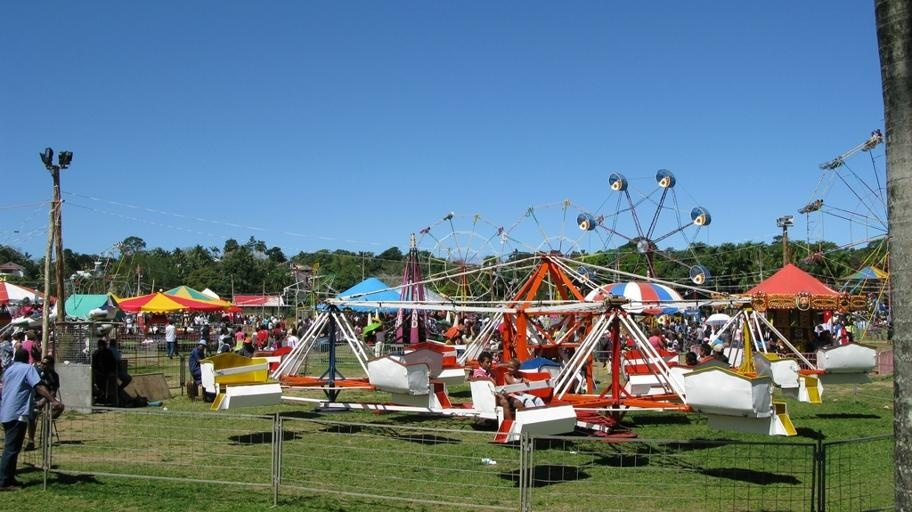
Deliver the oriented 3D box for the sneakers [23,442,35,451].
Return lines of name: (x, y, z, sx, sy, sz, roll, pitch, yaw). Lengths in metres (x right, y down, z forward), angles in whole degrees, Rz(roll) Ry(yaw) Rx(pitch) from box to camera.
sneakers: (-13.526, 6.089, 29.321, 0.375, 0.121, 0.237, -1, 0, -19)

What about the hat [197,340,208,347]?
hat: (-9.946, 3.500, 36.123, 0.393, 0.220, 0.504, 1, 2, -9)
